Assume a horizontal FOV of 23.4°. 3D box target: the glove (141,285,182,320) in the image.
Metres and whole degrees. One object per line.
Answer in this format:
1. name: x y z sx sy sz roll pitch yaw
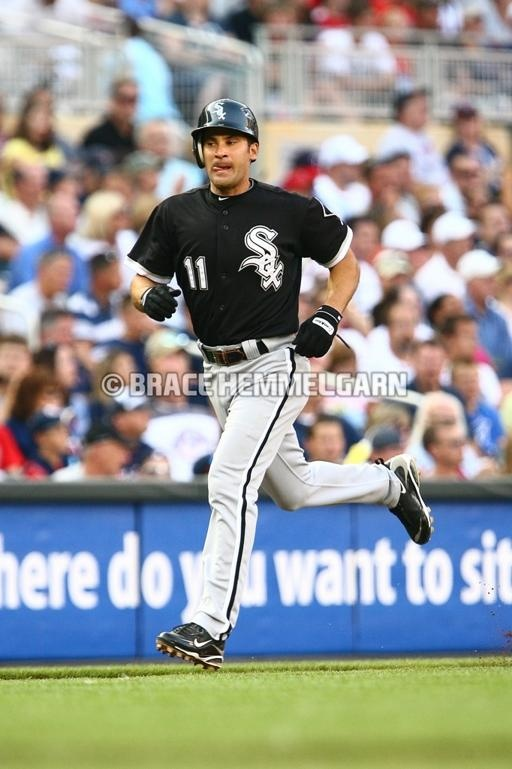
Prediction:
1. glove: -0.251 -0.224 3.365 0.050 0.085 0.115 -33 2 43

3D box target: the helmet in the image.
1. helmet: -0.082 -0.686 3.424 0.163 0.158 0.195 1 -6 9

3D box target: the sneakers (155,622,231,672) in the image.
1. sneakers: -0.170 0.689 3.198 0.221 0.107 0.075 26 -37 -19

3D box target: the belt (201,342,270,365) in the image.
1. belt: -0.070 -0.077 3.397 0.216 0.066 0.092 -8 -9 43

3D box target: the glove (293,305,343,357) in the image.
1. glove: 0.164 -0.143 3.402 0.113 0.142 0.044 41 -21 -15

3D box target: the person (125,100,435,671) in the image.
1. person: 0.050 0.002 3.500 0.762 1.519 0.499 0 -7 -12
